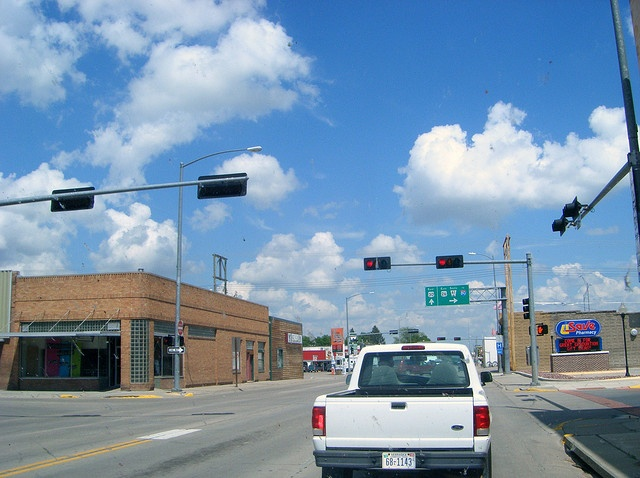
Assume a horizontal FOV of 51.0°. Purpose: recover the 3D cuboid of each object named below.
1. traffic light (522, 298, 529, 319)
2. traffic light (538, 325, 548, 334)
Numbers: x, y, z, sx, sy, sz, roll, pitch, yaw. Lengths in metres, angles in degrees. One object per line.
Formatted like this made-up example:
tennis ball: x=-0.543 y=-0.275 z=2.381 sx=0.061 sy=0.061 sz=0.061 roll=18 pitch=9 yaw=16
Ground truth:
traffic light: x=11.199 y=3.784 z=36.412 sx=0.242 sy=0.981 sz=1.069 roll=-4 pitch=-14 yaw=12
traffic light: x=12.430 y=5.097 z=37.790 sx=0.721 sy=0.534 sz=0.192 roll=-2 pitch=1 yaw=1
